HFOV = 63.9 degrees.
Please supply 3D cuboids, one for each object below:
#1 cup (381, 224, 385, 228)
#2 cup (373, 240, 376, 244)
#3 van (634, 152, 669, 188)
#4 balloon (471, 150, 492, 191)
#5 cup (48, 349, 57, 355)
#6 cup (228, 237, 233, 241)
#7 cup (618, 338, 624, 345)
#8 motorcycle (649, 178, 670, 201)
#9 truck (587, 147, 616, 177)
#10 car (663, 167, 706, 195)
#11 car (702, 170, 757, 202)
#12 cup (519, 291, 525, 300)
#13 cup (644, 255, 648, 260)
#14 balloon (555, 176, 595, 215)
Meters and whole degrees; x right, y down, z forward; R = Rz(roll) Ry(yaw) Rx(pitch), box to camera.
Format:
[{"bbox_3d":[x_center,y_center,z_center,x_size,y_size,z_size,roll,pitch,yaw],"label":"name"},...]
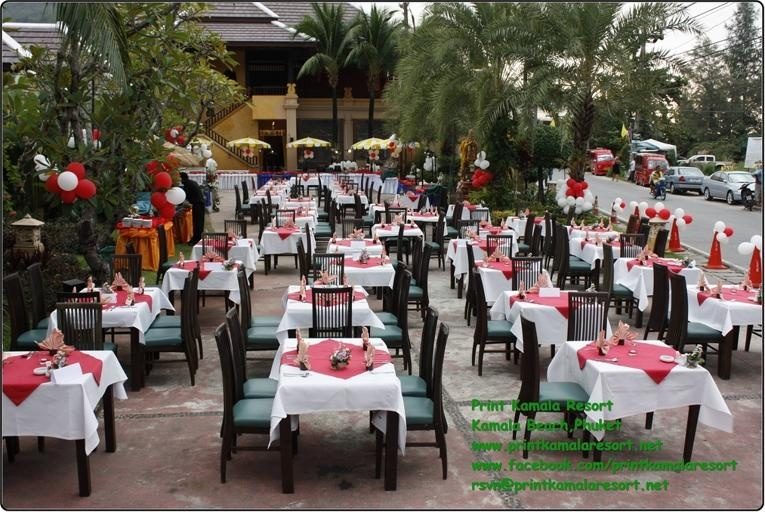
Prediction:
[{"bbox_3d":[0.032,-0.802,16.179,0.089,0.090,0.161,-1,-8,2],"label":"cup"},{"bbox_3d":[-0.180,-0.328,13.755,0.065,0.069,0.068,2,6,0],"label":"cup"},{"bbox_3d":[18.434,-5.990,41.431,1.786,2.013,3.577,0,5,2],"label":"van"},{"bbox_3d":[3.713,-3.250,22.902,0.604,1.328,0.935,1,3,-15],"label":"balloon"},{"bbox_3d":[-4.058,1.177,7.509,0.106,0.083,0.039,2,3,3],"label":"cup"},{"bbox_3d":[-3.323,-0.397,13.344,0.111,0.081,0.061,2,19,-7],"label":"cup"},{"bbox_3d":[3.149,1.127,8.072,0.066,0.052,0.067,-4,16,1],"label":"cup"},{"bbox_3d":[14.604,-3.467,32.145,0.746,0.966,1.596,-1,4,-3],"label":"motorcycle"},{"bbox_3d":[18.547,-8.105,52.251,1.667,1.718,2.765,-1,10,4],"label":"truck"},{"bbox_3d":[17.324,-4.416,35.169,1.166,0.945,2.823,0,11,9],"label":"car"},{"bbox_3d":[17.407,-3.496,30.648,1.194,1.015,2.800,0,3,3],"label":"car"},{"bbox_3d":[2.278,0.624,9.894,0.114,0.122,0.109,-2,14,0],"label":"cup"},{"bbox_3d":[5.255,0.031,12.168,0.071,0.117,0.069,-2,12,0],"label":"cup"},{"bbox_3d":[6.221,-1.863,19.954,1.086,0.846,1.606,5,29,10],"label":"balloon"}]
